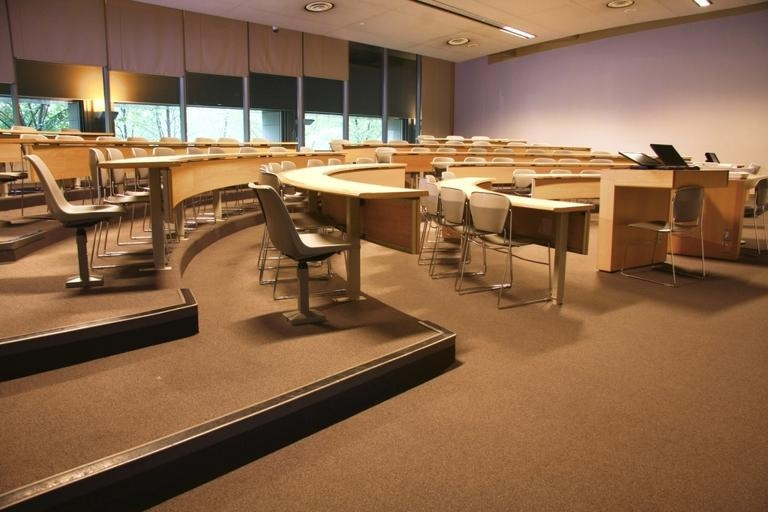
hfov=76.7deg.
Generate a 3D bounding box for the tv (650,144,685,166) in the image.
[{"bbox_3d":[2.975,-1.044,5.058,0.318,0.206,0.604,5,17,28],"label":"tv"}]
